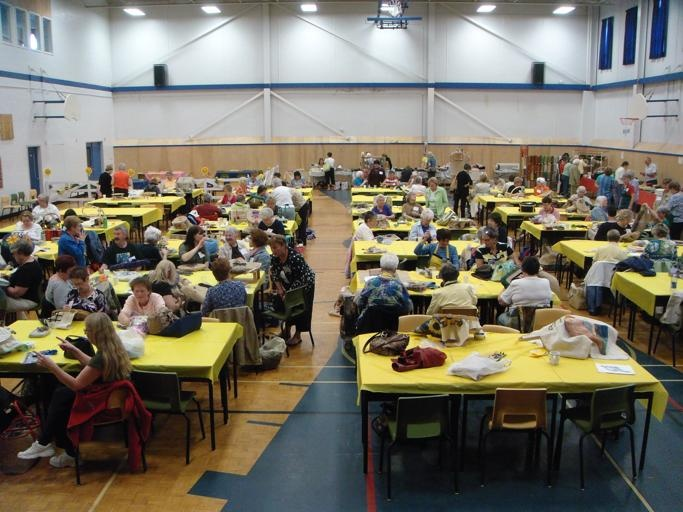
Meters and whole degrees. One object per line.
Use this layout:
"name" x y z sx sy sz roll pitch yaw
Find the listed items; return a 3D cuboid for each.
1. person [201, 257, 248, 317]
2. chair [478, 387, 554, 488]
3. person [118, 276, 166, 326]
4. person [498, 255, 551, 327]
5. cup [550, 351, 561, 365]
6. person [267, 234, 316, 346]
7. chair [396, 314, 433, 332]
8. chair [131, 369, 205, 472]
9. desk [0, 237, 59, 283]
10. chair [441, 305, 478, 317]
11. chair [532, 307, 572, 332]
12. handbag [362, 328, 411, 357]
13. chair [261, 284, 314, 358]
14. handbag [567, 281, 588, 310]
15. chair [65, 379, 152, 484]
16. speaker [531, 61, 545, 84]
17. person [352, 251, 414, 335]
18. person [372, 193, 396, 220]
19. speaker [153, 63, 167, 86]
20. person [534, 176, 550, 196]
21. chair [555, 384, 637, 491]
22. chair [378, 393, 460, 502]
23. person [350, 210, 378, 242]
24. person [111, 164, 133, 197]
"person" -1.536 0.542 7.605 0.602 0.911 0.569 -4 -3 15
"chair" 1.829 1.746 6.017 0.746 1.060 0.926 0 10 9
"person" -2.458 0.571 7.153 0.600 0.872 0.604 -3 8 -15
"person" 2.393 0.468 7.411 0.663 0.911 0.426 1 10 16
"cup" 2.251 1.078 6.003 0.119 0.128 0.120 -1 3 0
"person" -0.736 0.509 8.558 0.623 1.760 0.864 -3 10 -8
"chair" 0.839 0.801 6.795 0.380 0.176 0.371 -1 -26 -15
"chair" -1.933 1.660 6.290 0.774 1.067 0.781 7 13 24
"desk" -5.470 -0.045 10.149 0.978 0.393 0.979 5 17 6
"chair" 1.351 0.651 6.530 0.420 0.121 0.244 -1 10 5
"chair" 2.541 0.741 6.951 0.322 0.365 0.293 -1 24 11
"handbag" 0.513 0.954 6.227 0.335 0.163 0.300 -2 0 -20
"chair" -0.807 1.001 8.577 0.608 1.088 0.712 -14 33 -30
"handbag" 4.231 0.712 10.324 0.365 0.389 0.516 -2 11 2
"chair" -2.517 1.759 6.077 0.764 1.057 0.743 2 8 -29
"speaker" 8.991 -8.286 25.900 0.611 0.999 0.284 0 10 8
"person" 0.517 0.490 7.226 0.657 0.980 0.550 -10 13 -40
"person" 0.898 -1.088 12.584 0.521 0.742 0.607 0 12 -5
"speaker" -8.288 -8.173 25.920 0.643 0.986 0.428 -4 10 -16
"person" 6.085 -2.101 17.202 0.399 0.470 0.883 2 11 19
"chair" 2.663 1.788 5.976 0.647 1.046 0.700 -6 5 -11
"chair" 0.796 1.964 5.808 0.751 1.077 0.711 -3 25 -6
"person" 0.461 -0.613 11.523 0.408 0.989 0.425 -13 37 -23
"person" -7.164 -2.241 18.490 0.566 1.596 0.468 7 33 -15
